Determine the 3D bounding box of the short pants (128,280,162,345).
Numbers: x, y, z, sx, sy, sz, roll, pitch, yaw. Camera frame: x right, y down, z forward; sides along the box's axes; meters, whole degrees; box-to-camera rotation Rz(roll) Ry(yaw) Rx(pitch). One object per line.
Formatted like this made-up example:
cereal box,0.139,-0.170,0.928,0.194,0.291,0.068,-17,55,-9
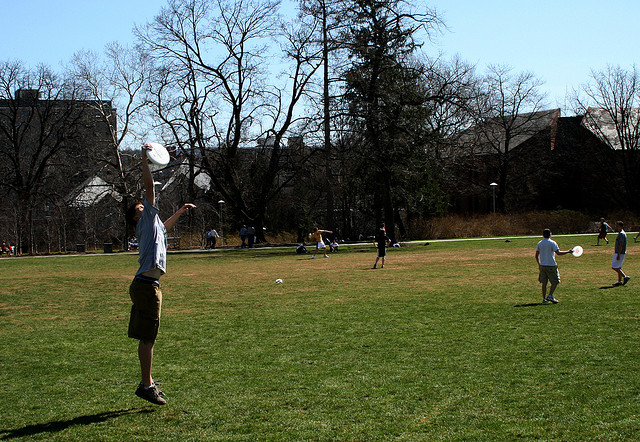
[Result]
short pants,-3.271,1.680,12.778,0.590,1.183,0.359,-4,8,-12

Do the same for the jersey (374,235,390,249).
jersey,2.454,0.822,27.537,0.470,0.867,0.464,3,-5,-20

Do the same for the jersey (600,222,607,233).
jersey,15.209,0.304,36.926,0.278,0.617,1.075,1,8,20

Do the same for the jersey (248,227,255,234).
jersey,-4.760,0.624,47.111,0.386,0.480,0.607,-4,8,-11

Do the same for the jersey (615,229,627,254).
jersey,9.082,0.658,20.768,0.264,0.656,0.543,1,8,20

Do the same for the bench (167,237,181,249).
bench,-10.198,1.506,47.861,1.444,0.905,0.765,0,-4,-10

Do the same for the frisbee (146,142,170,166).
frisbee,-3.089,-1.274,13.148,0.259,0.423,0.512,0,8,18

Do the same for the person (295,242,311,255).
person,-1.024,1.582,38.932,0.529,0.672,0.814,15,19,40

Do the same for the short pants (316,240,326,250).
short pants,0.039,1.165,34.779,0.392,0.156,0.399,0,-31,8

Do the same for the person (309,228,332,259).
person,0.010,1.337,40.531,1.347,1.435,0.569,3,24,20

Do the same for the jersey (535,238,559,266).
jersey,6.296,0.843,19.072,0.511,0.734,0.477,1,8,19

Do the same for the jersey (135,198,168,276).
jersey,-3.184,0.298,12.886,0.581,1.483,0.441,-4,8,-14
